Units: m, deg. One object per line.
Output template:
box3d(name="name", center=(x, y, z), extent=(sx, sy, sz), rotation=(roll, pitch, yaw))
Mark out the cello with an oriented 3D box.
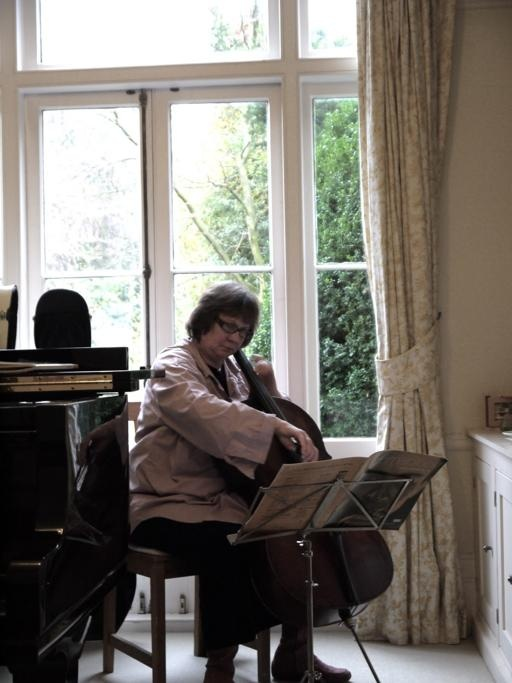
box3d(name="cello", center=(0.178, 0.423, 2.051), extent=(0.388, 0.440, 0.544), rotation=(-2, 1, -2))
